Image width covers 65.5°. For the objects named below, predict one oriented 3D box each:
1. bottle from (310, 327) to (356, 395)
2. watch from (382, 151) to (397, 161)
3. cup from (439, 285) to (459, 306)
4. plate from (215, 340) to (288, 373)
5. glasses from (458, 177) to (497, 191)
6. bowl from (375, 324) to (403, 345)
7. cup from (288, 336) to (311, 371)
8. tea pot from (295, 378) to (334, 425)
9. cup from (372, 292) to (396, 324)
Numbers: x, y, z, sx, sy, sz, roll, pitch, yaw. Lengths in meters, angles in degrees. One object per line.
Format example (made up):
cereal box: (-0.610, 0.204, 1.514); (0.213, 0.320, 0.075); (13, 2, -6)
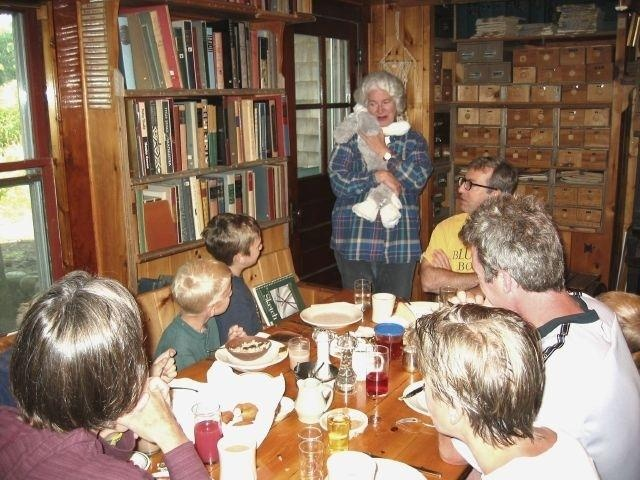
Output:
bottle: (0.050, 0.463, 1.875); (0.189, 0.242, 0.086); (2, 2, 12)
watch: (0.445, -0.530, 3.162); (0.071, 0.043, 0.070); (16, -7, -44)
cup: (0.584, 0.249, 2.240); (0.074, 0.085, 0.081); (1, 5, 0)
plate: (-0.260, 0.471, 1.987); (0.153, 0.036, 0.153); (5, 15, 7)
glasses: (0.881, -0.321, 2.835); (0.091, 0.069, 0.248); (-18, 24, -39)
bowl: (0.289, 0.381, 2.046); (0.086, 0.092, 0.088); (0, 7, 0)
cup: (-0.058, 0.441, 1.959); (0.103, 0.116, 0.107); (0, 12, 0)
tea pot: (-0.023, 0.538, 1.680); (0.142, 0.133, 0.115); (2, 4, -4)
cup: (0.338, 0.317, 2.327); (0.148, 0.126, 0.091); (-6, 8, -38)
